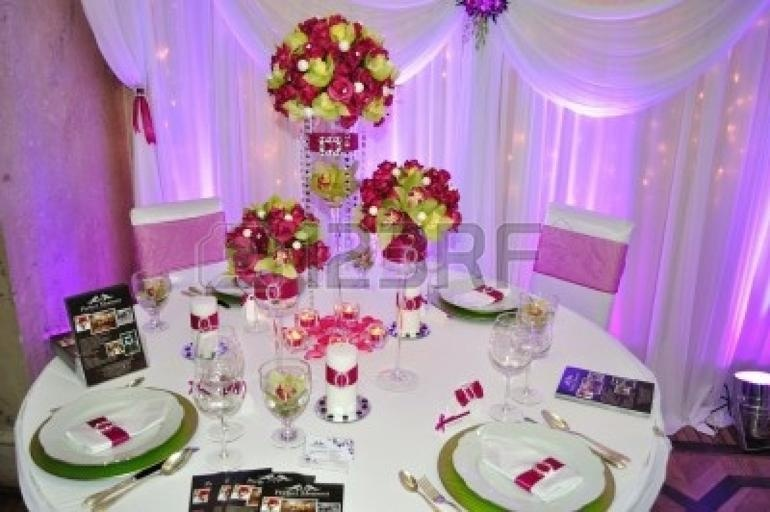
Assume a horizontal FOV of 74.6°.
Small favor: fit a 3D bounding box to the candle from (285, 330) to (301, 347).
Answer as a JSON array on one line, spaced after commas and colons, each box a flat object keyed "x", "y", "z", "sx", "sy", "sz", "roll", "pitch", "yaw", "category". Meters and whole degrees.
[{"x": -0.388, "y": 0.336, "z": 2.115, "sx": 0.068, "sy": 0.050, "sz": 0.069, "roll": -3, "pitch": 14, "yaw": -15, "category": "candle"}]

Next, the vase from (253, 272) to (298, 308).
[{"x": -0.451, "y": 0.136, "z": 2.073, "sx": 0.153, "sy": 0.116, "sz": 0.152, "roll": 1, "pitch": 5, "yaw": -9, "category": "vase"}]

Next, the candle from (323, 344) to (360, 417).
[{"x": -0.141, "y": 0.432, "z": 1.775, "sx": 0.139, "sy": 0.277, "sz": 0.105, "roll": -7, "pitch": 19, "yaw": -23, "category": "candle"}]

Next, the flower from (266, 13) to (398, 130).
[{"x": -0.178, "y": -1.092, "z": 2.922, "sx": 0.262, "sy": 0.516, "sz": 0.522, "roll": -3, "pitch": 14, "yaw": -30, "category": "flower"}]

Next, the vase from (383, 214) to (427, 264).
[{"x": 0.083, "y": -0.045, "z": 2.235, "sx": 0.217, "sy": 0.186, "sz": 0.195, "roll": 3, "pitch": -9, "yaw": -20, "category": "vase"}]

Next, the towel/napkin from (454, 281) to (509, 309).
[{"x": 0.481, "y": 0.196, "z": 2.459, "sx": 0.183, "sy": 0.059, "sz": 0.130, "roll": -7, "pitch": 12, "yaw": -41, "category": "towel/napkin"}]

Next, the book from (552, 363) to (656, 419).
[{"x": 0.841, "y": 0.507, "z": 1.915, "sx": 0.236, "sy": 0.035, "sz": 0.174, "roll": 7, "pitch": 13, "yaw": 23, "category": "book"}]

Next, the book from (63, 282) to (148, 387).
[{"x": -1.106, "y": 0.324, "z": 2.002, "sx": 0.294, "sy": 0.410, "sz": 0.045, "roll": -17, "pitch": -3, "yaw": -24, "category": "book"}]

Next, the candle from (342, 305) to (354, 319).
[{"x": -0.153, "y": 0.227, "z": 2.099, "sx": 0.055, "sy": 0.054, "sz": 0.055, "roll": -1, "pitch": 6, "yaw": -5, "category": "candle"}]

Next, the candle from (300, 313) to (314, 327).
[{"x": -0.327, "y": 0.268, "z": 2.123, "sx": 0.057, "sy": 0.057, "sz": 0.057, "roll": 0, "pitch": 2, "yaw": -35, "category": "candle"}]

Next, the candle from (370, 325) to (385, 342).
[{"x": -0.026, "y": 0.300, "z": 2.038, "sx": 0.055, "sy": 0.057, "sz": 0.055, "roll": -17, "pitch": 29, "yaw": -29, "category": "candle"}]

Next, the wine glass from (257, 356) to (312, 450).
[{"x": -0.316, "y": 0.480, "z": 1.694, "sx": 0.177, "sy": 0.257, "sz": 0.181, "roll": 1, "pitch": -6, "yaw": 3, "category": "wine glass"}]

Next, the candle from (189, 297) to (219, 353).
[{"x": -0.783, "y": 0.313, "z": 2.150, "sx": 0.120, "sy": 0.208, "sz": 0.119, "roll": -7, "pitch": 0, "yaw": 12, "category": "candle"}]

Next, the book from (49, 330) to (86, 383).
[{"x": -1.266, "y": 0.398, "z": 2.030, "sx": 0.048, "sy": 0.193, "sz": 0.200, "roll": -29, "pitch": 60, "yaw": -19, "category": "book"}]

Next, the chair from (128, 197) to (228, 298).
[{"x": -1.189, "y": -0.094, "z": 2.994, "sx": 0.496, "sy": 0.674, "sz": 0.619, "roll": -10, "pitch": 23, "yaw": -25, "category": "chair"}]

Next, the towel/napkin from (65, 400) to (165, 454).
[{"x": -0.874, "y": 0.564, "z": 1.677, "sx": 0.213, "sy": 0.032, "sz": 0.137, "roll": -12, "pitch": 24, "yaw": -39, "category": "towel/napkin"}]

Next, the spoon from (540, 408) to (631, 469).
[{"x": 0.645, "y": 0.595, "z": 1.775, "sx": 0.084, "sy": 0.061, "sz": 0.444, "roll": -6, "pitch": 19, "yaw": -29, "category": "spoon"}]

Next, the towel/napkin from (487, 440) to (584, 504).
[{"x": 0.435, "y": 0.650, "z": 1.567, "sx": 0.135, "sy": 0.040, "sz": 0.225, "roll": -20, "pitch": 25, "yaw": -34, "category": "towel/napkin"}]
